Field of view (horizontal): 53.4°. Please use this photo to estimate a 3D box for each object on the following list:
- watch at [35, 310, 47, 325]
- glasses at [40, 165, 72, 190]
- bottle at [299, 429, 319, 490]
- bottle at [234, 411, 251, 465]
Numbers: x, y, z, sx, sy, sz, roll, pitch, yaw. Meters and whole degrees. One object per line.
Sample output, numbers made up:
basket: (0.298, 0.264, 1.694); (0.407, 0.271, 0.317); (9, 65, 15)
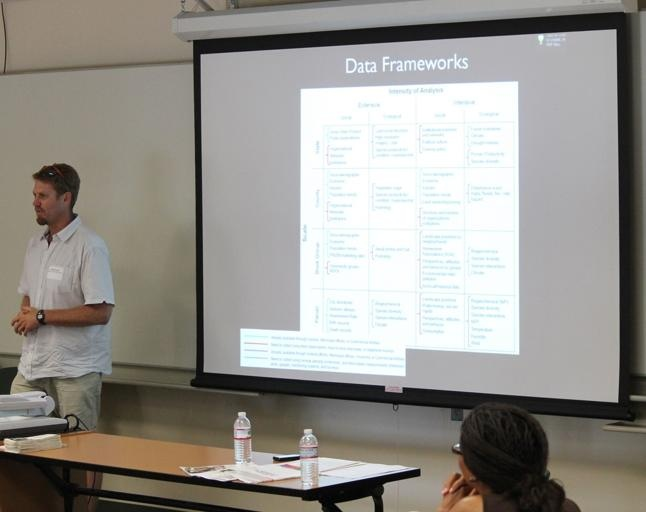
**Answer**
watch: (-1.692, 0.368, 3.858); (0.050, 0.096, 0.075); (1, -2, -15)
glasses: (-1.657, -0.484, 3.966); (0.131, 0.053, 0.157); (8, -29, 15)
bottle: (-0.056, 0.849, 2.748); (0.080, 0.216, 0.188); (0, -1, -2)
bottle: (-0.378, 0.841, 3.050); (0.085, 0.242, 0.207); (0, -1, -8)
